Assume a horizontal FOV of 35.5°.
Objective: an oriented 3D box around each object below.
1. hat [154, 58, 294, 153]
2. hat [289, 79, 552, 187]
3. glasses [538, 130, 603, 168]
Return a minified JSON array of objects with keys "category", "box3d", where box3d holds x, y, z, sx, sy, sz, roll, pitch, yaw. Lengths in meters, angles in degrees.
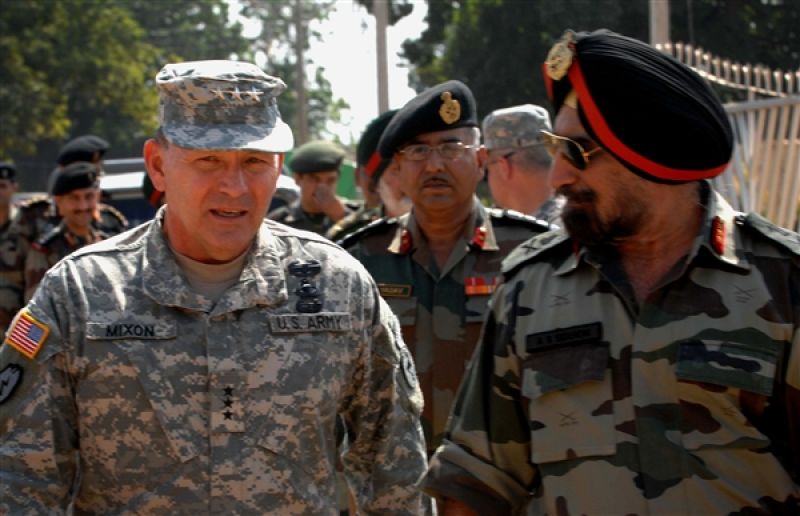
[{"category":"hat","box3d":[-0.884,-0.750,6.295,0.533,0.285,0.614,-1,1,-44]},{"category":"hat","box3d":[0.192,-0.753,7.740,0.693,0.288,0.732,-10,-13,-28]},{"category":"glasses","box3d":[0.841,-0.525,6.156,0.225,0.077,0.186,2,23,-43]}]
